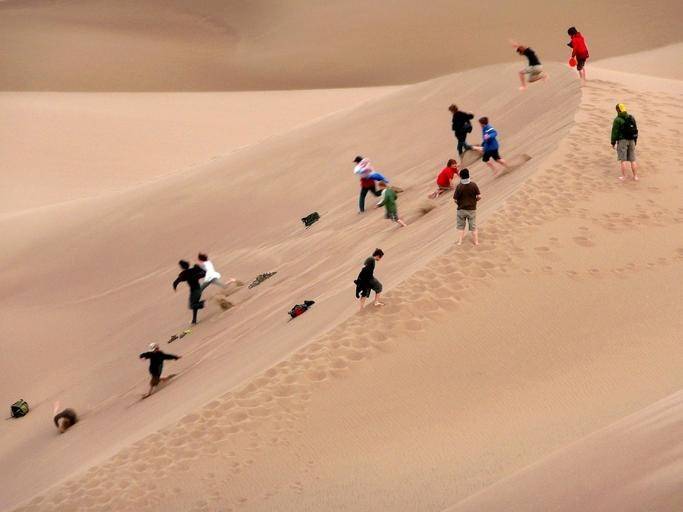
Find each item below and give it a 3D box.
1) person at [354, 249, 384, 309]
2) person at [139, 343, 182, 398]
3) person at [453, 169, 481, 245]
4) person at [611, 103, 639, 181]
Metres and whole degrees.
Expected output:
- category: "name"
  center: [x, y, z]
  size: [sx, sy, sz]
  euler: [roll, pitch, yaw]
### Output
- category: "person"
  center: [0.548, 0.482, 14.528]
  size: [0.719, 1.296, 0.613]
  euler: [-6, 29, -6]
- category: "person"
  center: [-3.833, 2.452, 15.677]
  size: [1.039, 0.971, 0.321]
  euler: [10, 14, 0]
- category: "person"
  center: [2.479, -1.074, 14.677]
  size: [0.547, 1.555, 0.749]
  euler: [-8, 23, 11]
- category: "person"
  center: [6.185, -2.493, 16.123]
  size: [0.508, 1.600, 0.795]
  euler: [-4, 25, 20]
